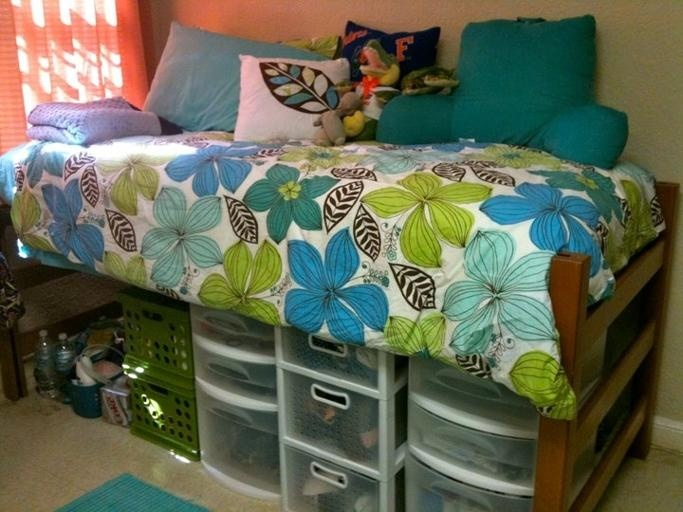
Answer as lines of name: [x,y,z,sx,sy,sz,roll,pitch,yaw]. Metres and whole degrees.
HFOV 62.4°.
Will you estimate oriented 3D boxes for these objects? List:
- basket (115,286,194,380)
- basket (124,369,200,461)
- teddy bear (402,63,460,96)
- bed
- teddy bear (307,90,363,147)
basket: [-0.638,0.260,2.140,0.325,0.222,0.319,5,6,28]
basket: [-0.663,0.597,2.122,0.345,0.248,0.188,5,10,30]
teddy bear: [0.346,-0.656,2.179,0.158,0.054,0.147,4,25,39]
bed: [-0.111,-0.021,1.901,1.942,0.590,1.083,13,25,27]
teddy bear: [-0.026,-0.529,2.209,0.194,0.116,0.317,10,46,5]
